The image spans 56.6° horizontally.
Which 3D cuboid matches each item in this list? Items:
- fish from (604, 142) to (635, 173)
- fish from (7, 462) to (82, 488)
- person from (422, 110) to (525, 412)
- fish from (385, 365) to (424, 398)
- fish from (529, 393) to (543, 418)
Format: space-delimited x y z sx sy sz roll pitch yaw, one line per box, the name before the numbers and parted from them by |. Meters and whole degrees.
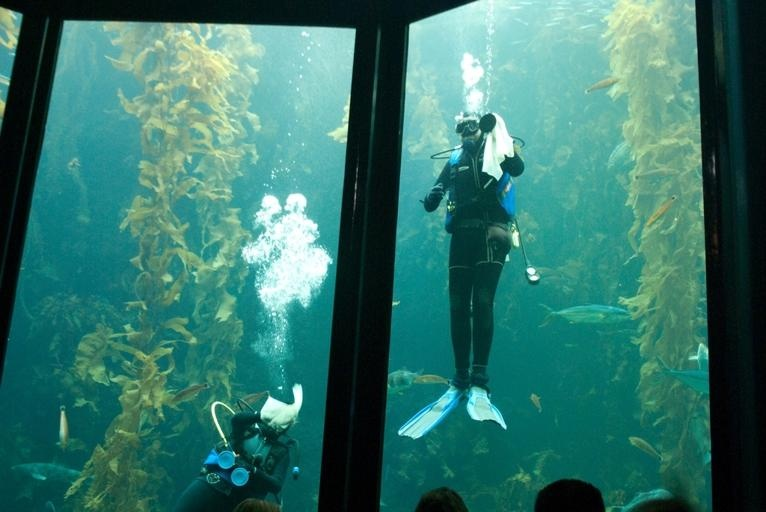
fish | 4.038 -1.696 12.106 0.245 0.285 0.927 -29 -2 3
fish | -4.265 2.731 8.901 0.954 0.245 0.244 4 -27 14
person | 0.992 -0.051 7.456 0.804 2.848 0.997 -1 -26 16
fish | 0.309 1.792 10.006 0.411 0.506 1.171 4 -25 4
fish | 2.462 2.308 11.405 0.135 0.335 0.100 -7 -60 2
